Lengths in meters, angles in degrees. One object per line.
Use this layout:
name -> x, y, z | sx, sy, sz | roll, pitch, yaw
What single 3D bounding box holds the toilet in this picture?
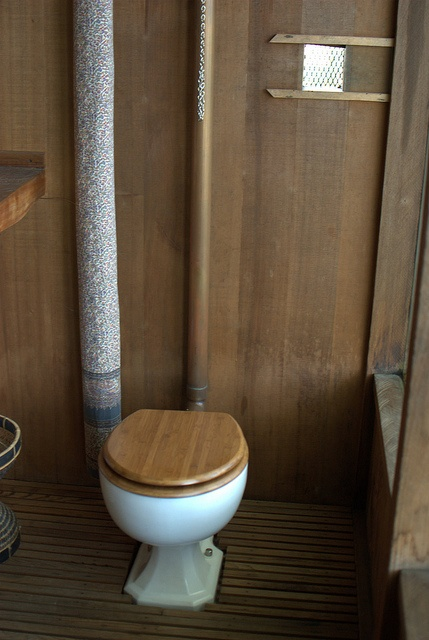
toilet -> -0.094, 0.499, 1.531 | 0.385, 0.407, 0.438 | 3, 16, 12
